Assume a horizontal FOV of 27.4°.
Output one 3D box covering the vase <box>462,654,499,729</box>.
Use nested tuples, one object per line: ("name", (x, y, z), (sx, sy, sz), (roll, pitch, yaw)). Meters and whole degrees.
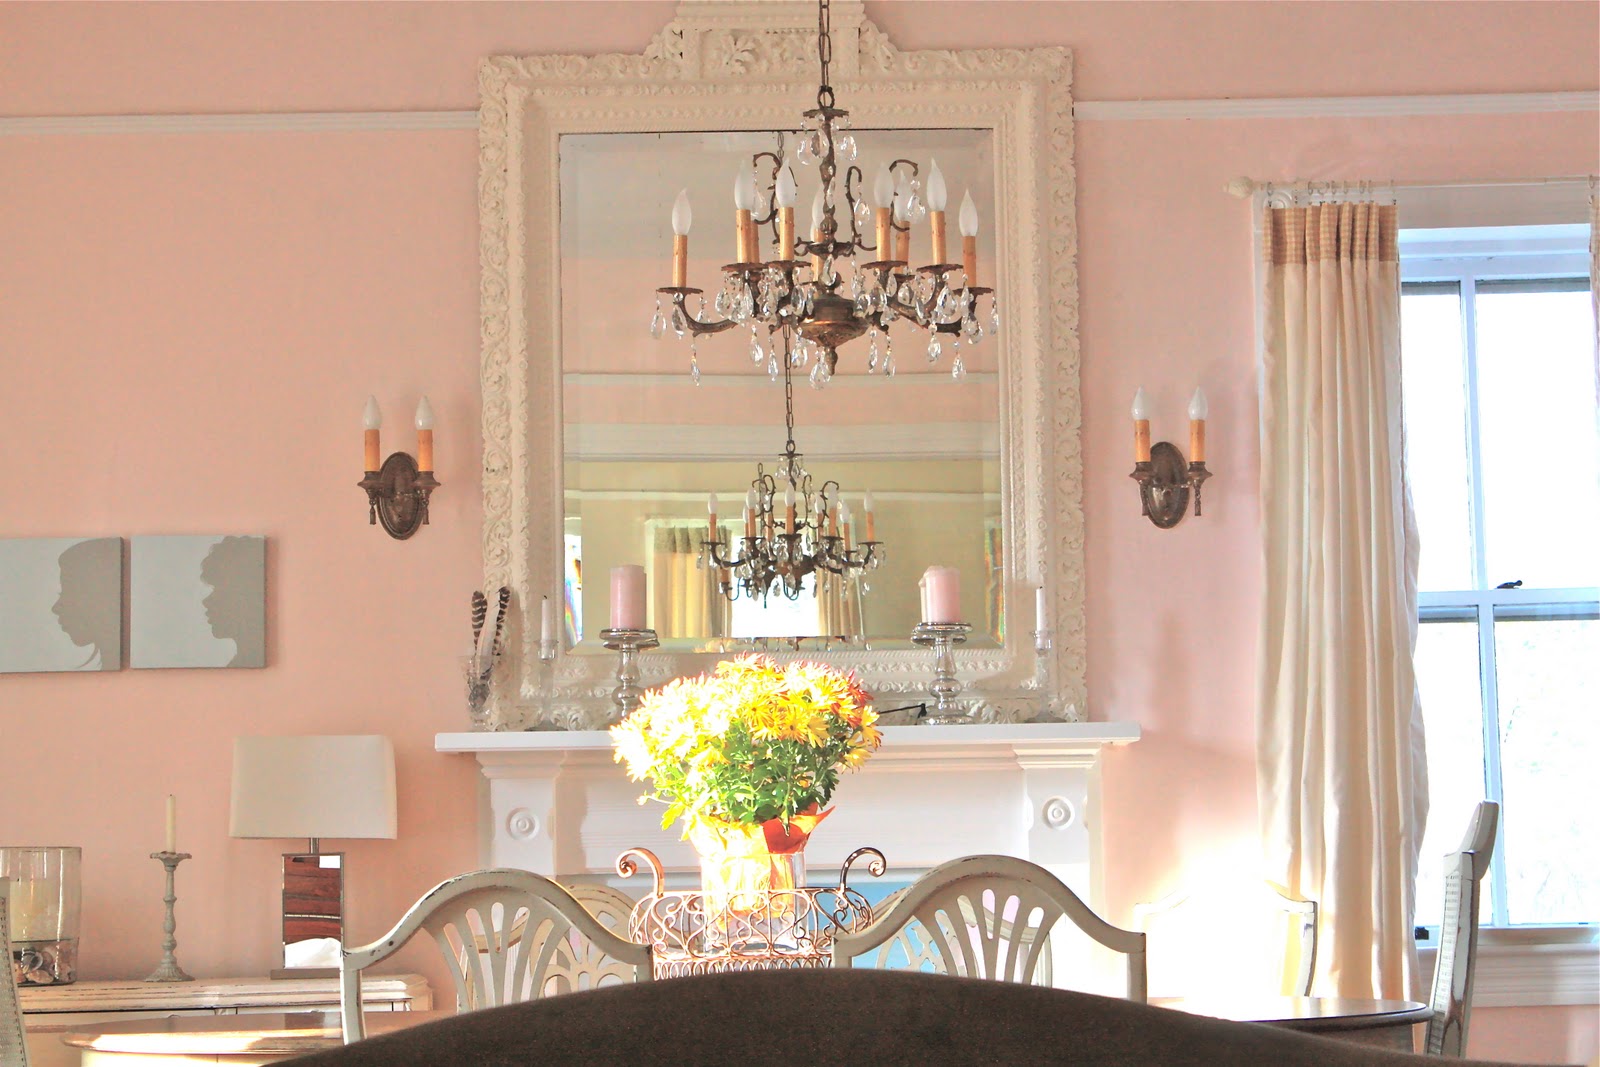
("vase", (-1.201, 0.590, 12.248), (0.133, 0.267, 0.049), (4, -7, -44))

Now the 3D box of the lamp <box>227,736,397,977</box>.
("lamp", (-1.826, 1.202, 12.109), (0.808, 1.151, 0.369), (0, -6, -2))

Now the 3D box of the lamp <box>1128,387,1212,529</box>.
("lamp", (1.403, -0.250, 12.372), (0.302, 0.477, 0.246), (-1, -5, 7))

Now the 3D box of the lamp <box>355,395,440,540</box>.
("lamp", (-1.522, -0.218, 12.323), (0.298, 0.496, 0.255), (0, -5, -6))

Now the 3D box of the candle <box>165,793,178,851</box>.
("candle", (-2.361, 1.089, 12.201), (0.042, 0.206, 0.194), (0, -6, -11))

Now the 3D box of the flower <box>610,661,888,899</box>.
("flower", (-0.226, 0.787, 10.716), (0.903, 0.955, 0.713), (1, -8, -18))

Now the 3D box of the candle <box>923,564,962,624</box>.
("candle", (0.520, 0.248, 12.158), (0.135, 0.231, 0.325), (-1, -6, 1))

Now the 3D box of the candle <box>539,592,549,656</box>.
("candle", (-0.968, 0.369, 12.316), (0.048, 0.227, 0.018), (0, -5, -7))

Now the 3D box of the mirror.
("mirror", (-0.124, -0.491, 12.205), (2.565, 3.126, 0.147), (-1, -2, -2))

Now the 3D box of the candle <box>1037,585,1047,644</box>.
("candle", (0.907, 0.323, 12.348), (0.049, 0.229, 0.023), (-1, -5, 1))

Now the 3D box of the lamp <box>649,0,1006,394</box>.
("lamp", (0.116, -1.194, 11.703), (1.374, 1.976, 1.415), (0, -9, -2))
